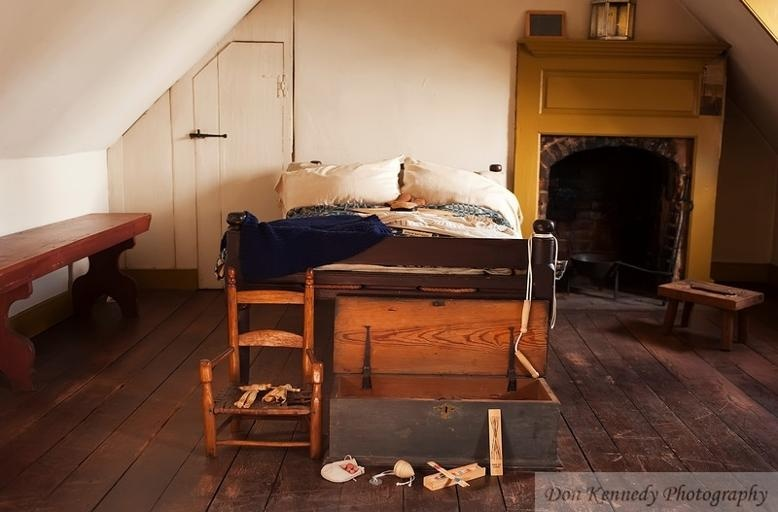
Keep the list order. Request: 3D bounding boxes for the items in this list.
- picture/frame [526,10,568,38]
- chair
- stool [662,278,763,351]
[{"bbox_3d":[1.432,-2.107,5.125,0.286,0.190,0.029,1,0,3],"label":"picture/frame"},{"bbox_3d":[-0.719,0.548,3.195,0.668,0.929,0.853,-2,11,-19],"label":"chair"},{"bbox_3d":[2.576,0.411,4.540,0.681,0.432,0.831,9,12,34],"label":"stool"}]
